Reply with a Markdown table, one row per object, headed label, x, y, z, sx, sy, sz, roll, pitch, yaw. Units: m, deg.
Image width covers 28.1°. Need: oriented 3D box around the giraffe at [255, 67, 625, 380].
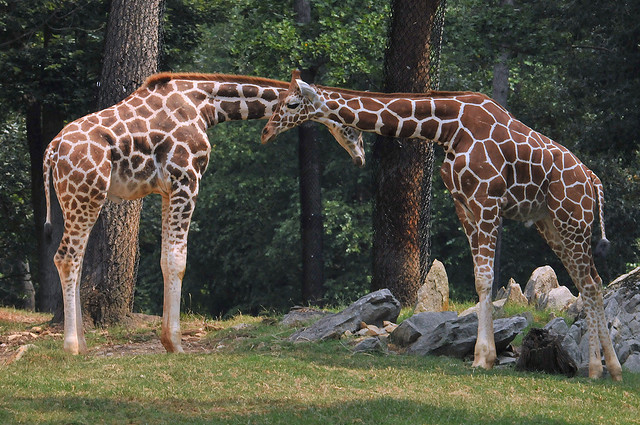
| label | x | y | z | sx | sy | sz | roll | pitch | yaw |
| --- | --- | --- | --- | --- | --- | --- | --- | --- | --- |
| giraffe | 3.463 | 0.190 | 35.042 | 9.911 | 7.717 | 2.861 | 5 | 14 | 22 |
